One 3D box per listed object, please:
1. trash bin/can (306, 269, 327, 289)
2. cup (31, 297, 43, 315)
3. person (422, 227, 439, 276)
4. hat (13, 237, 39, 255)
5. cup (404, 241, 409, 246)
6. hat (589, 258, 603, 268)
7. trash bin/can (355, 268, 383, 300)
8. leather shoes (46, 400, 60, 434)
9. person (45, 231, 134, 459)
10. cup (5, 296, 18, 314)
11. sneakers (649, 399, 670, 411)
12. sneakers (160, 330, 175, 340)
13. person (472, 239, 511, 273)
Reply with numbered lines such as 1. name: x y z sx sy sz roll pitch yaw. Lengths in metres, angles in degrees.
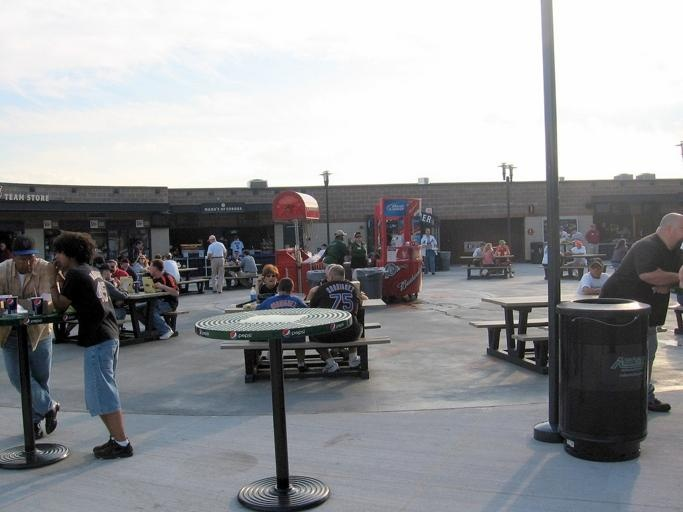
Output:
1. trash bin/can: -0.635 0.596 19.244 0.564 0.496 0.562 1 6 13
2. cup: -3.080 0.504 8.386 0.151 0.163 0.161 -2 9 0
3. person: 3.171 -0.052 30.160 0.480 1.547 1.521 -1 9 6
4. hat: -3.412 -0.095 8.977 0.255 0.127 0.173 2 1 44
5. cup: 1.469 -0.257 18.786 0.093 0.080 0.090 0 3 0
6. hat: 4.688 0.132 15.372 0.172 0.143 0.258 -1 -27 19
7. trash bin/can: 0.602 0.619 18.077 0.665 0.710 0.649 -2 4 0
8. leather shoes: -3.174 1.750 9.068 0.110 0.313 0.145 0 5 27
9. person: -2.558 0.897 8.487 0.658 2.236 0.809 -5 10 -19
10. cup: -3.326 0.500 8.398 0.154 0.195 0.161 -1 -2 0
11. sneakers: 3.559 1.644 9.208 0.287 0.115 0.099 -2 2 0
12. sneakers: -3.042 1.379 14.548 0.087 0.091 0.238 -31 -3 30
13. person: 5.029 0.178 27.788 1.186 0.897 1.792 1 2 6
